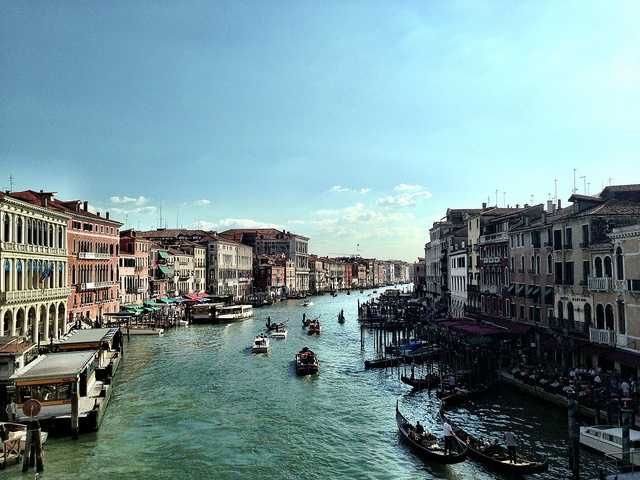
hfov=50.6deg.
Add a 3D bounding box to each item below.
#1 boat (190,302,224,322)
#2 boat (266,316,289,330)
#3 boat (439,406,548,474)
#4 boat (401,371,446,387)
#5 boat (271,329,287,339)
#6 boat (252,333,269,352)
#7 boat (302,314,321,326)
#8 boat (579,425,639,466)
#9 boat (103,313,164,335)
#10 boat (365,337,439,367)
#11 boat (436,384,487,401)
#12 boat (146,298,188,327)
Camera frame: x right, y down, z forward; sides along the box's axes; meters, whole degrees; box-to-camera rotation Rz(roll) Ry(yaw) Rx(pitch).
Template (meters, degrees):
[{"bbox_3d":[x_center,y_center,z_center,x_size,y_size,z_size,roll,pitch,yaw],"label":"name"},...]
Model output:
[{"bbox_3d":[-20.823,13.253,122.606,4.508,3.071,7.507,-2,-4,-6],"label":"boat"},{"bbox_3d":[-6.933,13.873,110.334,1.596,1.927,4.534,1,-1,30],"label":"boat"},{"bbox_3d":[14.873,17.121,57.490,1.945,3.363,10.185,-8,13,-37],"label":"boat"},{"bbox_3d":[10.935,15.060,71.865,5.101,1.708,1.501,-5,-10,32],"label":"boat"},{"bbox_3d":[-5.985,13.935,100.613,2.188,1.205,3.583,-2,-4,2],"label":"boat"},{"bbox_3d":[-7.658,13.566,87.784,1.967,1.886,3.965,-2,-4,-1],"label":"boat"},{"bbox_3d":[-1.756,13.883,116.541,1.249,2.038,5.619,-4,-6,24],"label":"boat"},{"bbox_3d":[23.559,16.314,54.711,2.273,0.966,3.942,10,-1,-38],"label":"boat"},{"bbox_3d":[-28.601,12.936,102.739,6.947,2.398,4.099,3,-7,-2],"label":"boat"},{"bbox_3d":[9.965,13.823,82.557,7.856,2.655,11.154,-4,-5,29],"label":"boat"},{"bbox_3d":[14.432,15.270,67.578,5.280,1.340,3.280,-2,-4,-6],"label":"boat"},{"bbox_3d":[-26.112,13.118,115.218,4.230,2.217,5.975,0,0,-37],"label":"boat"}]
